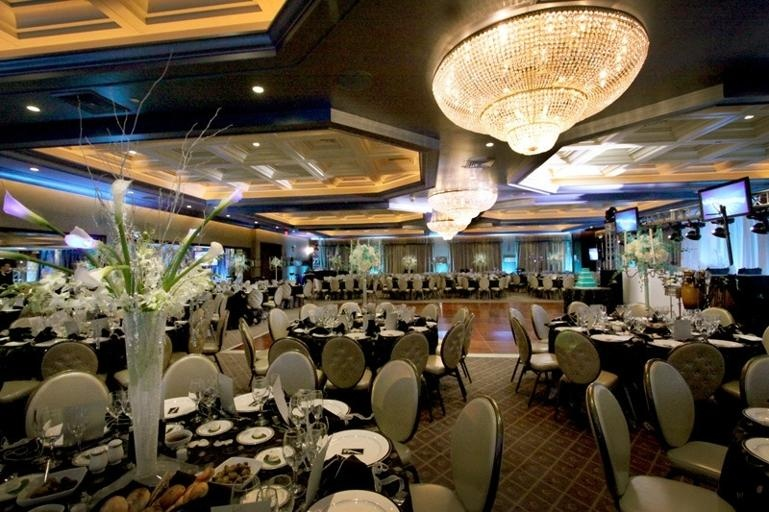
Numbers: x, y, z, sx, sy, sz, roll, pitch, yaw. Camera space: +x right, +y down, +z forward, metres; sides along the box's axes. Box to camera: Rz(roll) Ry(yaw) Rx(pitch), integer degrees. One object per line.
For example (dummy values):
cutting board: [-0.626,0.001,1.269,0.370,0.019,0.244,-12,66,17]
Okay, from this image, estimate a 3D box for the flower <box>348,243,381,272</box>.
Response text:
flower: [-0.521,0.064,12.553,0.668,0.837,1.697,0,-5,-7]

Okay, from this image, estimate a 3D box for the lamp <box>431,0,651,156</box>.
lamp: [1.591,-1.703,4.696,1.580,0.592,1.550,12,-28,-31]

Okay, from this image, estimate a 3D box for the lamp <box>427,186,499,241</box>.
lamp: [1.388,-0.907,9.616,0.850,0.480,1.367,3,-12,-9]
